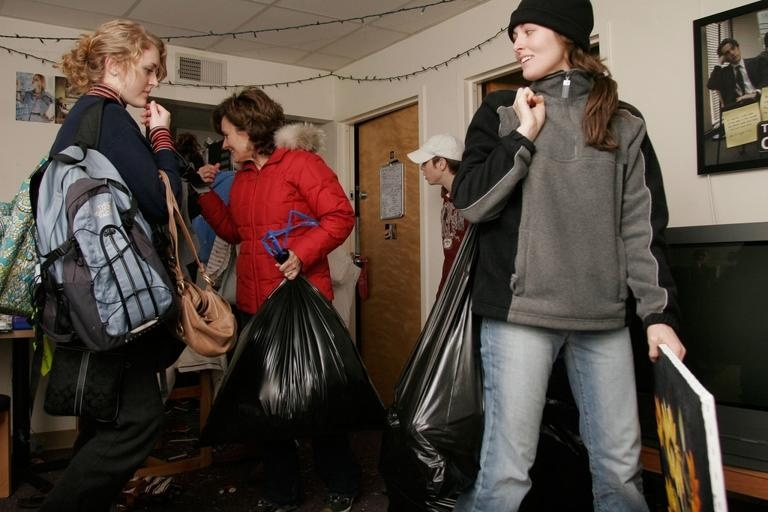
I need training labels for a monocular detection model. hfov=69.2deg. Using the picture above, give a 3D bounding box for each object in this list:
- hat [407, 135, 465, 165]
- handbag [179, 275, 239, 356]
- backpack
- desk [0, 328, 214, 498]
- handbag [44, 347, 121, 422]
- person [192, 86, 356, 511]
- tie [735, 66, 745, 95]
[{"bbox_3d":[0.289,-0.600,3.127,0.293,0.157,0.199,4,9,4],"label":"hat"},{"bbox_3d":[-0.691,0.245,2.219,0.155,0.253,0.220,-3,3,6],"label":"handbag"},{"bbox_3d":[-1.042,-0.119,2.006,0.506,0.869,0.214,-3,2,15],"label":"backpack"},{"bbox_3d":[-1.627,0.707,3.461,1.096,1.036,1.004,1,-3,-20],"label":"desk"},{"bbox_3d":[-1.077,0.464,2.023,0.294,0.317,0.111,7,0,0],"label":"handbag"},{"bbox_3d":[-0.546,0.207,2.939,0.734,1.654,0.469,-2,3,39],"label":"person"},{"bbox_3d":[1.629,-0.809,2.560,0.012,0.135,0.042,-4,2,-23],"label":"tie"}]
